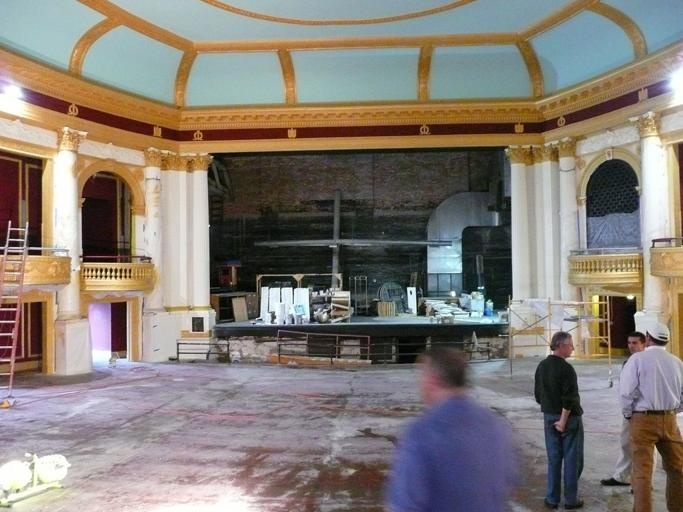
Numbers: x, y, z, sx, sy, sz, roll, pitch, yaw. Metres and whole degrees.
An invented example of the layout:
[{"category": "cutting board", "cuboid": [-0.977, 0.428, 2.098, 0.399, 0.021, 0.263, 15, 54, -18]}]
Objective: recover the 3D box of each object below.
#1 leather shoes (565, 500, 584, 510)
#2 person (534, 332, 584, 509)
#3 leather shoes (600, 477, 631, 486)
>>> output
[{"category": "leather shoes", "cuboid": [3.644, 3.830, 9.006, 0.344, 0.108, 0.111, -6, 5, -18]}, {"category": "person", "cuboid": [3.341, 2.548, 8.949, 0.656, 2.746, 0.416, 0, 8, 29]}, {"category": "leather shoes", "cuboid": [4.492, 3.706, 9.583, 0.473, 0.140, 0.148, 3, -6, 10]}]
